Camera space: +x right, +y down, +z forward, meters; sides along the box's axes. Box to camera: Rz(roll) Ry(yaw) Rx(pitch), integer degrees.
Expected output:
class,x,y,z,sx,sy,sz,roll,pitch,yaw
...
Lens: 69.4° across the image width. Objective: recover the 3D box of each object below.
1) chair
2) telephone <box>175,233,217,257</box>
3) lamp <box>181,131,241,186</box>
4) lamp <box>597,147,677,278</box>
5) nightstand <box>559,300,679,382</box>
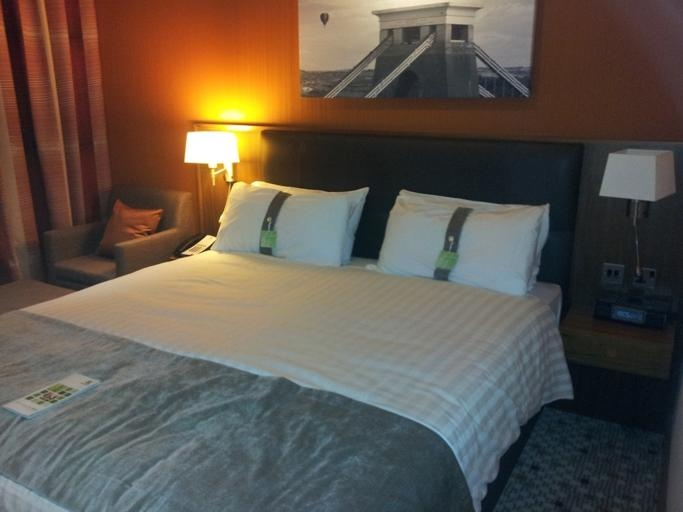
class,x,y,z,sx,sy,sz,roll,pitch,yaw
chair,-1.896,-0.149,4.377,1.004,1.079,1.049,11,16,19
telephone,-1.183,-0.091,4.016,0.205,0.079,0.275,12,32,30
lamp,-0.998,-0.790,4.143,0.500,0.506,0.468,7,18,15
lamp,1.688,-0.244,2.838,0.337,0.738,0.414,11,15,33
nightstand,1.564,0.508,2.779,0.457,0.219,0.342,8,19,25
